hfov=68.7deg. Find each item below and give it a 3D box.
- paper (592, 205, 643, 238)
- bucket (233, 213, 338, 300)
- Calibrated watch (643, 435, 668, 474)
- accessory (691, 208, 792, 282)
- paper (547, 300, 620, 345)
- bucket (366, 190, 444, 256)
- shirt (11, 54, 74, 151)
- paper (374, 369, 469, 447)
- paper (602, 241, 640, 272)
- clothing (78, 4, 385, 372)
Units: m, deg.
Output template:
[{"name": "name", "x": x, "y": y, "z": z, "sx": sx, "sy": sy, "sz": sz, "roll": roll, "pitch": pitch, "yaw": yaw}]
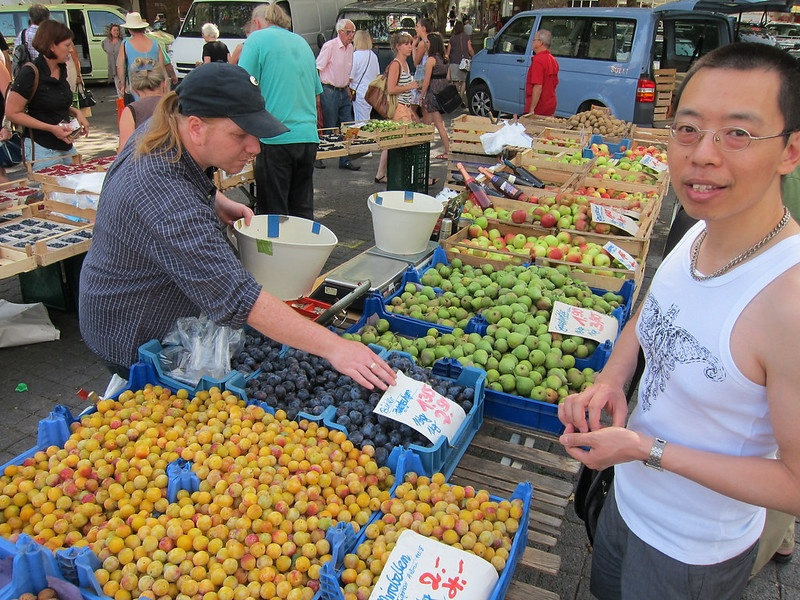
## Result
[{"name": "paper", "x": 1.869, "y": -0.745, "z": 5.088, "sx": 0.347, "sy": 0.098, "sz": 0.353, "roll": 25, "pitch": 20, "yaw": 2}, {"name": "bucket", "x": -0.722, "y": -0.169, "z": 3.520, "sx": 0.553, "sy": 0.361, "sz": 0.534, "roll": 10, "pitch": 27, "yaw": -5}, {"name": "Calibrated watch", "x": 0.792, "y": 0.478, "z": 1.839, "sx": 0.053, "sy": 0.095, "sz": 0.089, "roll": 22, "pitch": 17, "yaw": 25}, {"name": "accessory", "x": 1.049, "y": -0.181, "z": 1.849, "sx": 0.252, "sy": 0.238, "sz": 0.232, "roll": 24, "pitch": 33, "yaw": 36}, {"name": "paper", "x": 1.119, "y": 0.150, "z": 3.566, "sx": 0.334, "sy": 0.108, "sz": 0.263, "roll": 27, "pitch": 45, "yaw": 15}, {"name": "bucket", "x": 0.049, "y": -0.534, "z": 4.395, "sx": 0.519, "sy": 0.321, "sz": 0.517, "roll": 3, "pitch": 26, "yaw": -1}, {"name": "shirt", "x": -3.817, "y": -2.105, "z": 6.267, "sx": 0.414, "sy": 0.822, "sz": 0.809, "roll": 16, "pitch": 30, "yaw": 0}, {"name": "paper", "x": 0.103, "y": 0.491, "z": 2.636, "sx": 0.311, "sy": 0.085, "sz": 0.316, "roll": 33, "pitch": 41, "yaw": 6}, {"name": "paper", "x": 1.724, "y": -0.334, "z": 4.568, "sx": 0.234, "sy": 0.066, "sz": 0.236, "roll": 43, "pitch": 21, "yaw": 23}, {"name": "clothing", "x": -0.874, "y": -0.253, "z": 2.735, "sx": 1.528, "sy": 1.545, "sz": 0.523, "roll": 14, "pitch": 28, "yaw": 22}]
